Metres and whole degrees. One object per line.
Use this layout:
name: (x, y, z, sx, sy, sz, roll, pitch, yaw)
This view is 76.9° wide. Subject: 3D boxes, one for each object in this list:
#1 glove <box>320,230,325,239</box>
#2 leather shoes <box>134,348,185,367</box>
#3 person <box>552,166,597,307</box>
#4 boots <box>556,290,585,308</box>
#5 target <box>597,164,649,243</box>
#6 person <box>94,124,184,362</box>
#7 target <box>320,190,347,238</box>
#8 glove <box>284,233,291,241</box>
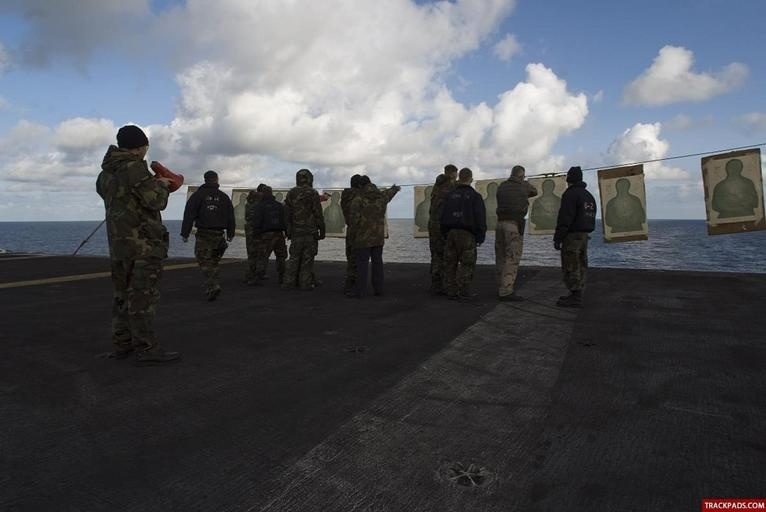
glove: (-1.434, -0.499, 11.277, 0.140, 0.185, 0.178, -2, 1, -8)
leather shoes: (-2.520, 1.132, 5.492, 0.535, 0.220, 0.189, 0, -1, -12)
person: (3.388, -0.352, 8.555, 0.622, 2.393, 0.974, 3, 10, 25)
boots: (3.235, 0.739, 8.378, 0.419, 0.261, 0.440, 3, 10, 21)
target: (6.987, -1.500, 13.981, 1.248, 2.127, 0.259, -4, 2, 43)
person: (-2.858, -0.134, 5.757, 1.049, 2.644, 0.999, 2, 2, 35)
target: (-2.028, -1.612, 18.747, 1.430, 1.832, 0.503, -1, 5, 11)
glove: (-2.301, -0.463, 11.581, 0.157, 0.147, 0.046, 3, 25, 34)
